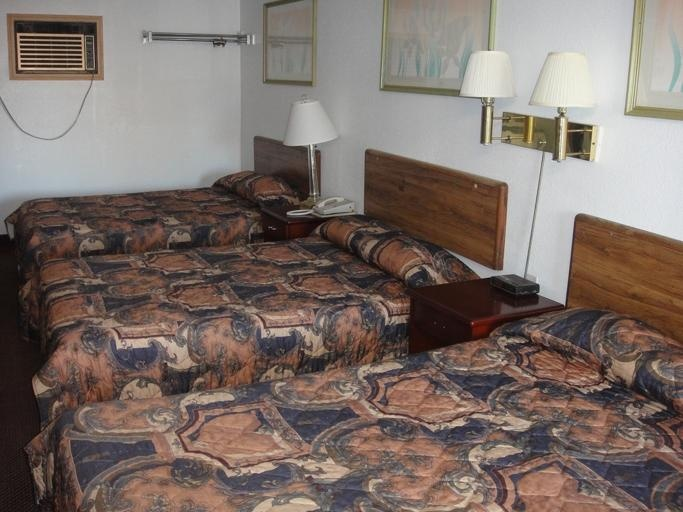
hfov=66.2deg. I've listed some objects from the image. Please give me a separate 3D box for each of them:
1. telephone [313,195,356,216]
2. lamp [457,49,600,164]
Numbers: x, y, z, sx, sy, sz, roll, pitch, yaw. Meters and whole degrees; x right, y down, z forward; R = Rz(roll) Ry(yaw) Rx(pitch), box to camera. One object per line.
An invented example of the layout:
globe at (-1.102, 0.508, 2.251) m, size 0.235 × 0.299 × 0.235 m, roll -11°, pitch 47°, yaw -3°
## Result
telephone at (-0.078, -0.438, 4.491) m, size 0.274 × 0.084 × 0.185 m, roll -4°, pitch 15°, yaw -22°
lamp at (0.953, -0.798, 2.720) m, size 0.329 × 0.498 × 0.855 m, roll -14°, pitch 26°, yaw -23°
